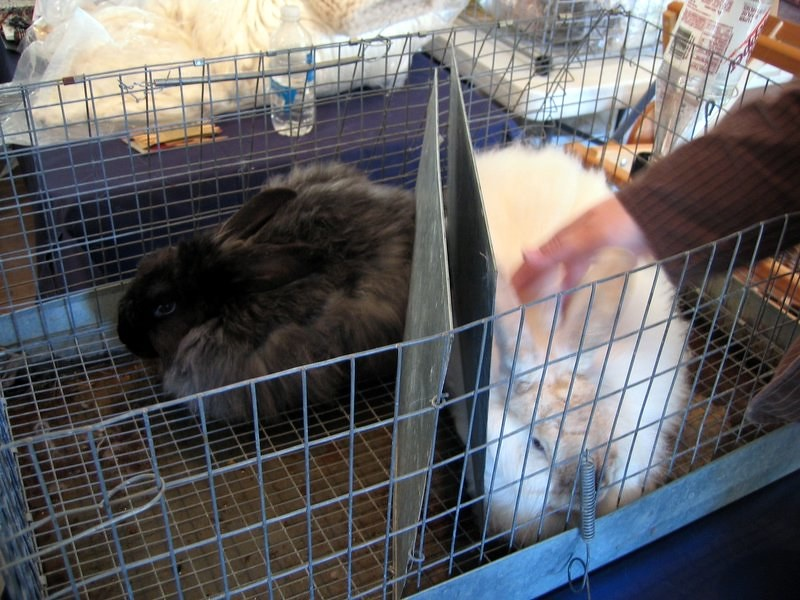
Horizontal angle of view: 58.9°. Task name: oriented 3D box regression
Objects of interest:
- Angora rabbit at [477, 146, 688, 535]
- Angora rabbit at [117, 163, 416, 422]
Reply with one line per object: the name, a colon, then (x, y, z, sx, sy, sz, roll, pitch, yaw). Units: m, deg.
Angora rabbit: (0.261, 0.036, 1.289, 0.377, 0.485, 0.714, -5, 70, 4)
Angora rabbit: (-0.234, -0.014, 1.499, 0.596, 0.414, 0.436, -31, 36, 25)
